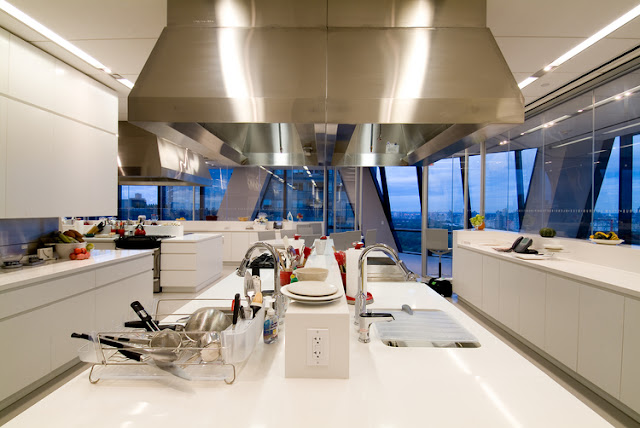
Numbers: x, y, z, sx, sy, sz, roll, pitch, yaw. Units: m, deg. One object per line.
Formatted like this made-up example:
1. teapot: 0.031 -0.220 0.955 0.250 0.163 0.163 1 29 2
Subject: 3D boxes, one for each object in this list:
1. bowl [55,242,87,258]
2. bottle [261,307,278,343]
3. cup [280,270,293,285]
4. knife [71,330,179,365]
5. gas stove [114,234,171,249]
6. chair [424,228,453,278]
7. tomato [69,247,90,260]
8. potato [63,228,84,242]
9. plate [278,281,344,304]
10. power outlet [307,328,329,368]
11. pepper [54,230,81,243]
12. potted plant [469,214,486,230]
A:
1. bowl: -2.881 0.399 4.672 0.199 0.102 0.196 0 -12 0
2. bottle: -0.370 0.829 3.002 0.102 0.226 0.030 1 -5 -15
3. cup: -0.296 0.532 3.449 0.121 0.111 0.119 0 -6 0
4. knife: -1.302 0.919 2.798 0.653 0.247 0.237 1 -6 -9
5. gas stove: -2.800 0.441 6.413 0.775 0.235 0.522 2 -7 -24
6. chair: 2.256 0.733 7.861 0.439 0.910 2.114 -2 -7 16
7. tomato: -2.708 0.446 4.597 0.135 0.090 0.154 2 -7 -6
8. potato: -2.969 0.259 4.912 0.165 0.118 0.209 0 -7 4
9. plate: -0.055 0.553 2.882 0.435 0.150 0.222 -1 -6 1
10. power outlet: -0.018 0.896 2.735 0.152 0.227 0.022 -5 -19 15
11. pepper: -2.962 0.266 4.828 0.175 0.080 0.195 7 -9 -15
12. potted plant: 2.459 0.119 6.410 0.274 0.273 0.247 0 -1 3
